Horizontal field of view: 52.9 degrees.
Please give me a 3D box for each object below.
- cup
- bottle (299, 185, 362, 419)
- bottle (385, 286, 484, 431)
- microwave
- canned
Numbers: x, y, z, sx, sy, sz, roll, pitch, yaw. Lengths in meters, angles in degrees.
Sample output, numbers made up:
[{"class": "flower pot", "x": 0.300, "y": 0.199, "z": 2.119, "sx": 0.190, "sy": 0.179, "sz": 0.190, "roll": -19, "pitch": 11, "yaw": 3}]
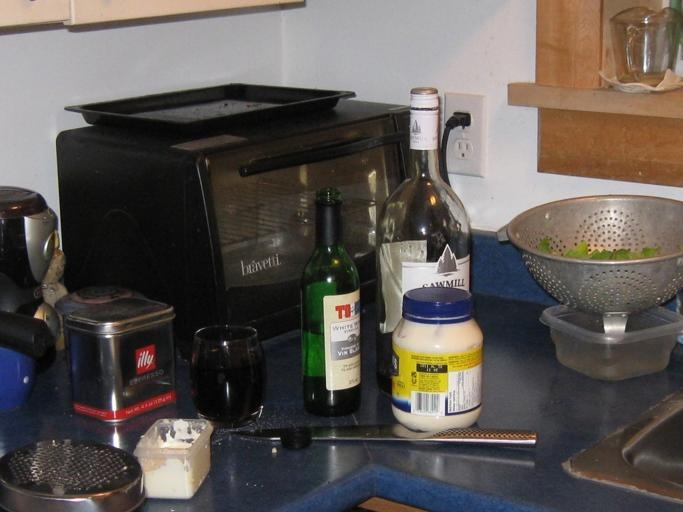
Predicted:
[{"class": "cup", "x": -0.163, "y": 0.171, "z": 0.984, "sx": 0.103, "sy": 0.115, "sz": 0.109, "roll": 1, "pitch": 9, "yaw": 0}, {"class": "bottle", "x": -0.020, "y": 0.067, "z": 0.952, "sx": 0.093, "sy": 0.324, "sz": 0.064, "roll": -6, "pitch": 15, "yaw": -1}, {"class": "bottle", "x": 0.131, "y": 0.143, "z": 0.936, "sx": 0.111, "sy": 0.175, "sz": 0.110, "roll": 0, "pitch": 6, "yaw": 0}, {"class": "microwave", "x": -0.188, "y": -0.086, "z": 1.363, "sx": 0.410, "sy": 0.390, "sz": 0.598, "roll": 17, "pitch": 26, "yaw": 34}, {"class": "canned", "x": -0.326, "y": 0.137, "z": 1.059, "sx": 0.156, "sy": 0.177, "sz": 0.162, "roll": 8, "pitch": 14, "yaw": 38}]
